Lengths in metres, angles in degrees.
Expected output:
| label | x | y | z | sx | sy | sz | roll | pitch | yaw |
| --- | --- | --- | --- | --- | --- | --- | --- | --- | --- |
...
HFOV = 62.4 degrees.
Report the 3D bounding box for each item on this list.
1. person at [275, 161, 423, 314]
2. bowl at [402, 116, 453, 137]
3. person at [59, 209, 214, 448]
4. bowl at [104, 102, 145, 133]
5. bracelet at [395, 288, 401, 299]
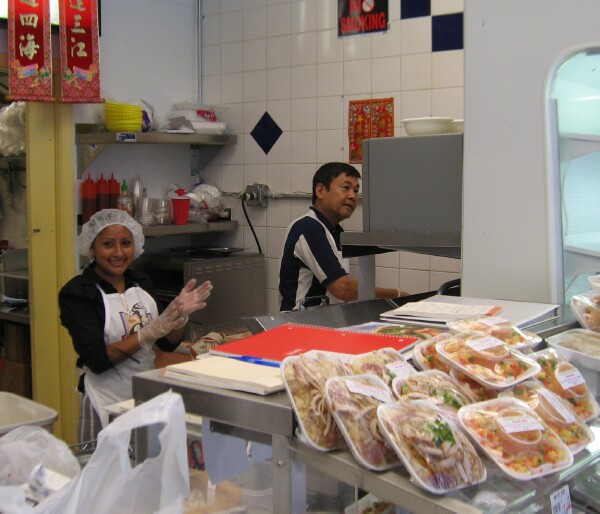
| label | x | y | z | sx | sy | sz | roll | pitch | yaw |
| --- | --- | --- | --- | --- | --- | --- | --- | --- | --- |
| person | 0.166 | -0.100 | 2.617 | 0.497 | 0.806 | 0.537 | -7 | 9 | -36 |
| bowl | 0.479 | -0.484 | 1.843 | 0.176 | 0.058 | 0.087 | 0 | 8 | 12 |
| person | -0.744 | 0.369 | 2.173 | 0.536 | 1.140 | 0.865 | -5 | 8 | -29 |
| bowl | -1.121 | -0.872 | 3.167 | 0.209 | 0.190 | 0.210 | -2 | 4 | 0 |
| bracelet | 0.509 | 0.188 | 2.561 | 0.011 | 0.052 | 0.049 | 6 | -12 | -7 |
